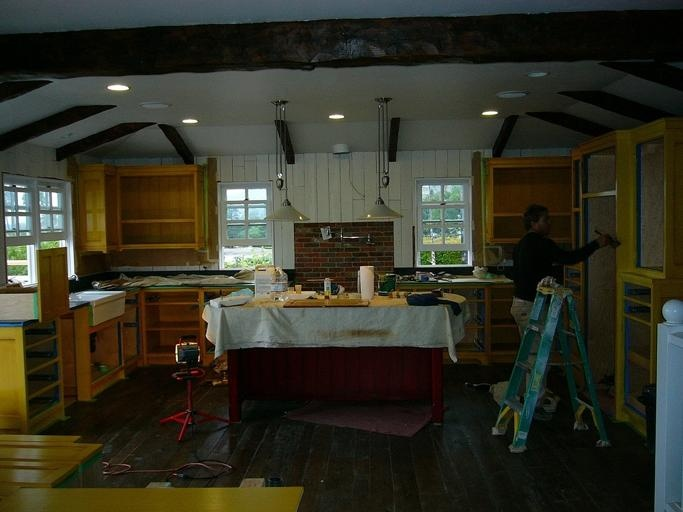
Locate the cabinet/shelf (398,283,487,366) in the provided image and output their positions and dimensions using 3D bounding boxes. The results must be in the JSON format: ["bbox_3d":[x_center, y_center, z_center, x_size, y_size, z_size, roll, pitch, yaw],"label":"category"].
[{"bbox_3d":[1.069,0.738,5.762,1.413,0.862,0.695,0,-3,3],"label":"cabinet/shelf"}]

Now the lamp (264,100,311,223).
[{"bbox_3d":[-0.694,-1.147,6.491,0.797,1.375,0.631,-3,17,1],"label":"lamp"}]

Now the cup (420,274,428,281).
[{"bbox_3d":[1.098,0.296,7.154,0.096,0.054,0.088,0,-1,0],"label":"cup"}]

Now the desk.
[{"bbox_3d":[0.018,1.218,5.800,2.696,1.017,1.635,-3,-18,9],"label":"desk"}]

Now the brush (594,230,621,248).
[{"bbox_3d":[2.630,-0.158,5.345,0.282,0.092,0.164,11,21,16],"label":"brush"}]

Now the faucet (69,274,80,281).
[{"bbox_3d":[-3.445,0.293,6.967,0.090,0.087,0.242,-4,9,-18],"label":"faucet"}]

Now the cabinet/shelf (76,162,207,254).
[{"bbox_3d":[-2.949,-0.640,7.637,1.789,1.054,0.661,-4,0,-43],"label":"cabinet/shelf"}]

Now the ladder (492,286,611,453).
[{"bbox_3d":[2.050,0.888,5.192,0.976,1.478,1.650,3,10,23],"label":"ladder"}]

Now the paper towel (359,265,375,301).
[{"bbox_3d":[0.241,0.282,5.658,0.285,0.349,0.245,-1,5,6],"label":"paper towel"}]

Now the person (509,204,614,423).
[{"bbox_3d":[2.209,0.406,5.633,1.219,1.711,0.679,3,19,20],"label":"person"}]

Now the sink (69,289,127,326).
[{"bbox_3d":[-2.826,0.568,6.182,0.458,0.173,0.569,2,3,7],"label":"sink"}]
